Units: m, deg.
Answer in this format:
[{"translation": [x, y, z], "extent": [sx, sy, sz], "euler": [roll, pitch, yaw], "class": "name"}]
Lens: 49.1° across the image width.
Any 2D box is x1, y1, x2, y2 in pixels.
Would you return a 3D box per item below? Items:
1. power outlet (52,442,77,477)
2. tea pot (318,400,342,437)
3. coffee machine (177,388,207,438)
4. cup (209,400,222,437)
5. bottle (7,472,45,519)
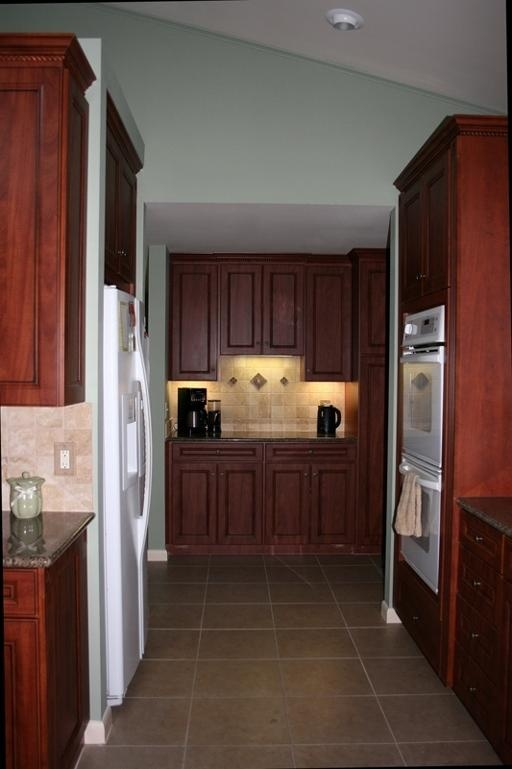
[{"translation": [-0.667, 0.255, 1.948], "extent": [0.082, 0.208, 0.023], "euler": [0, 2, -7], "class": "power outlet"}, {"translation": [0.600, 0.298, 4.662], "extent": [0.229, 0.335, 0.160], "euler": [1, -2, -4], "class": "tea pot"}, {"translation": [-0.531, 0.223, 4.627], "extent": [0.245, 0.384, 0.403], "euler": [0, -1, -9], "class": "coffee machine"}, {"translation": [-0.357, 0.276, 4.721], "extent": [0.114, 0.279, 0.590], "euler": [0, -1, -5], "class": "cup"}, {"translation": [-0.722, 0.345, 1.816], "extent": [0.105, 0.166, 0.129], "euler": [0, -3, -2], "class": "bottle"}]
